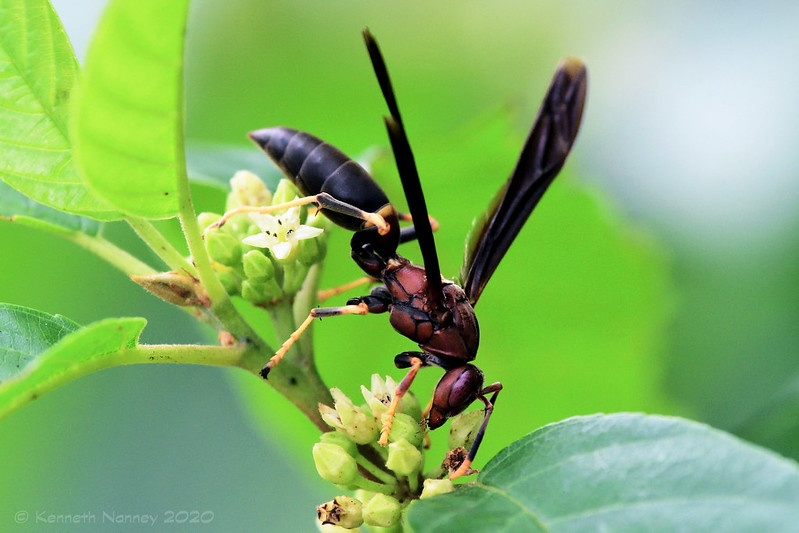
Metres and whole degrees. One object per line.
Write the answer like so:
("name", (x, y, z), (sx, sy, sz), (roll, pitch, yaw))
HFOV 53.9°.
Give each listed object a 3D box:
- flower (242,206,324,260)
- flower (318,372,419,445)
("flower", (-0.480, -0.135, 3.273), (0.295, 0.240, 0.166), (20, -15, -6))
("flower", (-0.060, 0.535, 3.229), (0.125, 0.363, 0.256), (42, -32, 12))
